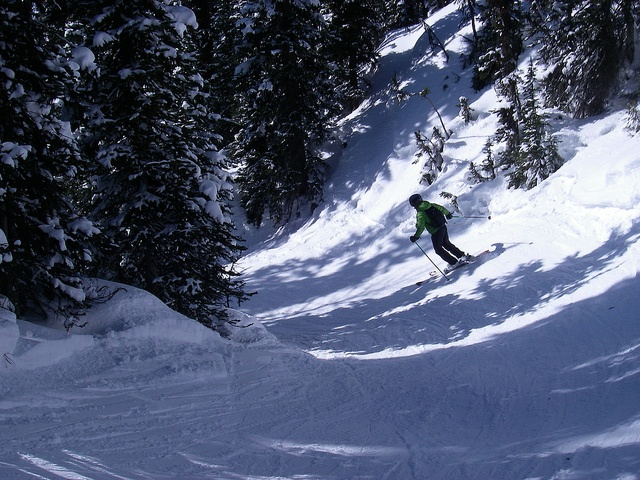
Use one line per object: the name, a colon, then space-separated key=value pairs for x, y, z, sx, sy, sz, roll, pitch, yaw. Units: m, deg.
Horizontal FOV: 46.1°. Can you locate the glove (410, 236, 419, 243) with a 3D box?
glove: x=2.585 y=-0.004 z=20.746 sx=0.194 sy=0.054 sz=0.203 roll=-34 pitch=32 yaw=-30

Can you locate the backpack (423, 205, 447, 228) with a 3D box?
backpack: x=3.110 y=-0.634 z=20.758 sx=0.369 sy=0.581 sz=0.321 roll=-33 pitch=4 yaw=-28

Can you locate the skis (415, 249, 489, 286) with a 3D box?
skis: x=3.720 y=0.804 z=20.971 sx=1.973 sy=0.297 sz=0.256 roll=-23 pitch=46 yaw=26
